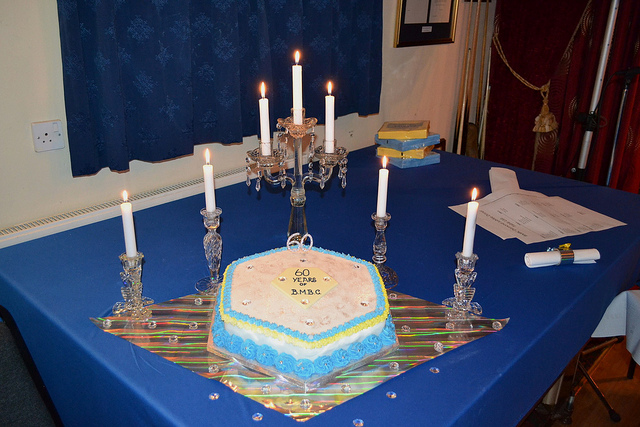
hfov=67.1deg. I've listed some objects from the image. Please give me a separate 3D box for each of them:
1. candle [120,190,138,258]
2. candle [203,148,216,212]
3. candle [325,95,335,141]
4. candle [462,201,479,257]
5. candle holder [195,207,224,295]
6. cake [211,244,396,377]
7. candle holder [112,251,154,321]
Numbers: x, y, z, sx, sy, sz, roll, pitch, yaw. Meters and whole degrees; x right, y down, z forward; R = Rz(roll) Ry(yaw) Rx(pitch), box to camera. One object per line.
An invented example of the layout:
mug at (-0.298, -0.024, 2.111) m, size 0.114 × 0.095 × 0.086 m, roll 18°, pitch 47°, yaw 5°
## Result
candle at (-0.575, 0.024, 1.446) m, size 0.031 × 0.182 × 0.134 m, roll -8°, pitch 20°, yaw -22°
candle at (-0.355, -0.112, 1.544) m, size 0.030 × 0.192 × 0.157 m, roll -5°, pitch 19°, yaw -13°
candle at (0.032, -0.304, 1.530) m, size 0.027 × 0.138 × 0.028 m, roll 2°, pitch 9°, yaw 11°
candle at (0.454, 0.041, 1.458) m, size 0.028 × 0.173 × 0.102 m, roll 6°, pitch 19°, yaw 17°
candle holder at (-0.345, 0.117, 1.570) m, size 0.116 × 0.260 × 0.125 m, roll 7°, pitch 12°, yaw 23°
cake at (-0.039, 0.271, 1.486) m, size 0.544 × 0.167 × 0.581 m, roll 17°, pitch 23°, yaw 34°
candle holder at (-0.571, 0.214, 1.465) m, size 0.134 × 0.200 × 0.155 m, roll 5°, pitch 18°, yaw -7°
